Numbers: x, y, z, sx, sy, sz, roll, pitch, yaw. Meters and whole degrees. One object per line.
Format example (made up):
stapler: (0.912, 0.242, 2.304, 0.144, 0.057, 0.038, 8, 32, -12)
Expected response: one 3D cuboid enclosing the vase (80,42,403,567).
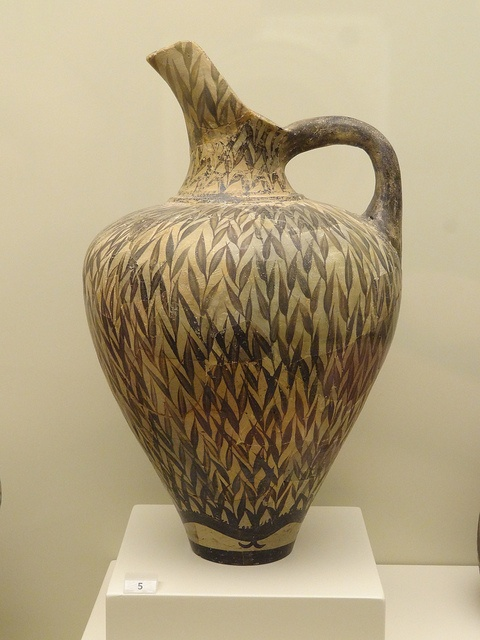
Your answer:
vase: (0.037, -0.013, 1.471, 0.565, 1.069, 0.662, 1, 4, 5)
